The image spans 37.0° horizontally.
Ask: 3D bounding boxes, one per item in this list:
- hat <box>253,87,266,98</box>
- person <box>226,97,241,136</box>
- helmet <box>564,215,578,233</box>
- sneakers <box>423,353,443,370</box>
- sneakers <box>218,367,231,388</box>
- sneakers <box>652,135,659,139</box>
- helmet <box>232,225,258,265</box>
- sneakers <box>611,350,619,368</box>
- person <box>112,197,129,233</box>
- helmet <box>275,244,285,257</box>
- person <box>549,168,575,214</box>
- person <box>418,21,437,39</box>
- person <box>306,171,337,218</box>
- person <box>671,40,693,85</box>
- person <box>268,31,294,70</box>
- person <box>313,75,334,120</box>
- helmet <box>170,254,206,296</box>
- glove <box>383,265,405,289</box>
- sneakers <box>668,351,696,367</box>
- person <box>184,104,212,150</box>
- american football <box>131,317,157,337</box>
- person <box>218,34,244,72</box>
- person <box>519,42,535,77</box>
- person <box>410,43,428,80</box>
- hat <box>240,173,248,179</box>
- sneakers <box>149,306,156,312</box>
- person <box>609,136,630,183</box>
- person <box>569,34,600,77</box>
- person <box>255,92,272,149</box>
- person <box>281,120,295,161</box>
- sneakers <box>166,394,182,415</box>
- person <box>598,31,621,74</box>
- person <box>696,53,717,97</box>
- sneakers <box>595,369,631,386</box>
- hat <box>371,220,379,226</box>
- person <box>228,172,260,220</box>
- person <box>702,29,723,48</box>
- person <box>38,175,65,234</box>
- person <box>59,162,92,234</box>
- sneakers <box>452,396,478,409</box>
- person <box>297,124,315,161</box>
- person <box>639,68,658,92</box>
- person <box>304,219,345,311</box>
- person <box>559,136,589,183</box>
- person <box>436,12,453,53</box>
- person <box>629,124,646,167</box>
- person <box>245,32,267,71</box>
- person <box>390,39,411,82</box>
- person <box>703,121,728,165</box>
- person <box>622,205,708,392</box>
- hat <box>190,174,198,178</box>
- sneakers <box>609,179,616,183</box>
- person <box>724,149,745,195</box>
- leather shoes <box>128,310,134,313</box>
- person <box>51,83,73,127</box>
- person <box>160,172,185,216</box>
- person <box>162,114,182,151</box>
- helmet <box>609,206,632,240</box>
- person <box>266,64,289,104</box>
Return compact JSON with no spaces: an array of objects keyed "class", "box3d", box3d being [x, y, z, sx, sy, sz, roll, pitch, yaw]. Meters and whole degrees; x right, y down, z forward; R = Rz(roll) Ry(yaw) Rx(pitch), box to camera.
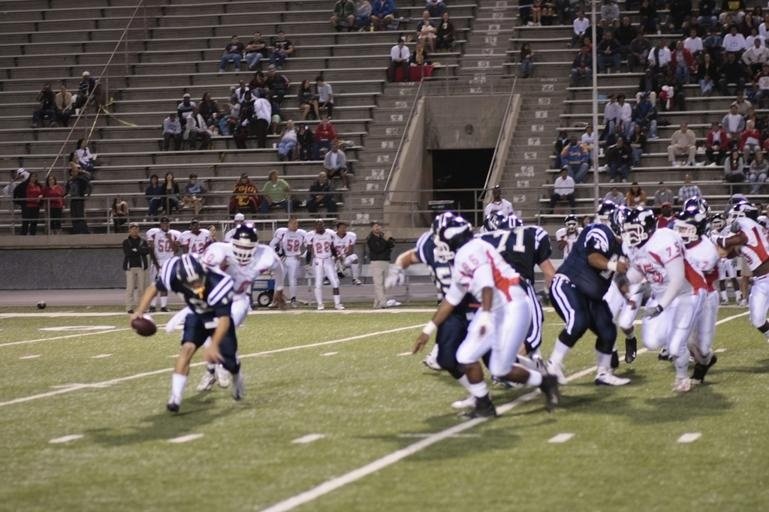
[{"class":"hat","box3d":[-3.514,-4.560,32.442,0.334,0.143,0.244,7,3,12]},{"class":"person","box3d":[-4.218,-3.903,32.070,0.361,1.104,0.925,-1,3,-8]},{"class":"helmet","box3d":[4.156,-0.680,24.811,0.302,0.373,0.386,-2,-3,9]},{"class":"sneakers","box3d":[0.763,1.615,17.643,0.292,0.249,0.214,20,-2,-6]},{"class":"sneakers","box3d":[-2.385,1.764,16.866,0.185,0.306,0.123,-8,-16,-26]},{"class":"sneakers","box3d":[7.131,-3.003,29.405,0.139,0.127,0.418,1,3,17]},{"class":"helmet","box3d":[-2.042,-0.183,16.689,0.408,0.503,0.536,4,7,-6]},{"class":"sneakers","box3d":[3.526,1.531,17.144,0.081,0.243,0.185,-1,15,12]},{"class":"person","box3d":[-6.840,-1.053,29.476,0.422,0.864,0.468,-1,3,-14]},{"class":"helmet","box3d":[-2.328,-0.082,25.655,0.238,0.296,0.261,-7,26,3]},{"class":"person","box3d":[4.512,-1.555,28.103,0.761,1.070,0.699,-7,10,-33]},{"class":"person","box3d":[1.341,-6.585,33.850,0.538,0.713,1.003,0,3,1]},{"class":"person","box3d":[-1.514,-1.522,28.942,1.079,1.116,1.034,-5,9,-33]},{"class":"person","box3d":[8.136,-5.112,30.682,0.543,1.103,0.503,1,3,15]},{"class":"person","box3d":[-3.134,-6.096,34.344,0.734,1.259,0.788,1,-1,13]},{"class":"person","box3d":[-1.644,-4.409,32.262,0.495,1.115,0.729,0,3,-4]},{"class":"helmet","box3d":[-2.597,0.200,15.878,0.399,0.500,0.476,-28,-25,-3]},{"class":"glove","box3d":[0.184,0.275,15.969,0.317,0.393,0.129,4,-26,-2]},{"class":"sneakers","box3d":[4.420,1.481,16.663,0.240,0.303,0.273,-3,46,35]},{"class":"person","box3d":[-5.229,-3.556,31.976,0.619,1.223,0.877,-2,3,-28]},{"class":"american football","box3d":[-3.452,0.988,16.266,0.248,0.200,0.340,13,2,-22]},{"class":"person","box3d":[-4.658,-6.103,34.827,0.743,1.187,0.955,-1,3,-8]},{"class":"person","box3d":[4.118,-5.438,32.274,0.381,0.946,0.431,1,3,17]},{"class":"person","box3d":[1.084,-5.557,33.019,0.601,1.126,0.503,1,3,28]},{"class":"hat","box3d":[-3.588,-2.025,29.110,0.178,0.058,0.160,-6,-5,40]},{"class":"sneakers","box3d":[-5.192,1.170,25.447,0.104,0.097,0.252,0,-6,-10]},{"class":"person","box3d":[5.981,-2.392,28.559,0.558,1.133,0.513,0,3,14]},{"class":"person","box3d":[5.581,-5.399,31.571,0.521,1.221,1.010,0,3,12]},{"class":"person","box3d":[-3.350,-3.646,31.647,0.409,1.347,0.576,-4,-2,33]},{"class":"person","box3d":[-2.578,-3.062,30.917,0.530,1.053,0.505,0,3,7]},{"class":"sneakers","box3d":[-2.917,2.045,15.935,0.240,0.212,0.398,-6,-1,4]},{"class":"person","box3d":[6.326,-5.528,31.516,0.618,1.031,0.466,0,3,14]},{"class":"person","box3d":[8.765,-4.774,30.484,0.484,1.129,0.480,0,3,10]},{"class":"sneakers","box3d":[3.386,1.765,16.813,0.584,0.255,0.196,-3,4,5]},{"class":"hat","box3d":[-0.144,-0.709,25.030,0.108,0.083,0.142,9,13,30]},{"class":"person","box3d":[-3.525,-1.544,28.911,0.786,0.992,0.677,0,3,-5]},{"class":"person","box3d":[9.087,-5.780,31.114,0.543,0.568,0.810,0,3,15]},{"class":"person","box3d":[-8.705,-1.309,29.984,0.546,1.453,1.009,-1,3,-17]},{"class":"person","box3d":[-8.096,-1.521,30.120,0.648,1.857,1.304,-1,3,-16]},{"class":"sneakers","box3d":[1.172,2.027,16.036,0.406,0.163,0.135,4,3,10]},{"class":"person","box3d":[-2.075,-2.993,30.819,0.482,0.890,0.283,-1,3,-8]},{"class":"person","box3d":[7.159,-4.604,30.294,0.468,0.670,0.722,1,3,27]},{"class":"person","box3d":[-1.287,0.178,25.567,0.856,1.943,1.195,0,3,-3]},{"class":"person","box3d":[4.873,-2.409,28.695,0.802,1.128,0.713,-8,17,-21]},{"class":"person","box3d":[1.874,-6.498,33.642,0.535,1.044,0.338,0,3,3]},{"class":"person","box3d":[6.548,-2.758,29.040,0.381,1.063,0.760,1,3,23]},{"class":"person","box3d":[-3.920,-6.118,34.832,0.673,1.191,1.050,0,3,4]},{"class":"person","box3d":[0.514,-5.585,33.140,0.636,1.262,0.621,0,3,1]},{"class":"person","box3d":[8.382,-2.740,28.322,0.560,1.017,0.457,1,3,15]},{"class":"person","box3d":[4.057,0.623,16.372,1.059,2.591,1.157,2,3,32]},{"class":"hat","box3d":[-4.976,-2.052,29.734,0.156,0.108,0.212,3,-18,-22]},{"class":"sneakers","box3d":[5.805,-1.835,28.394,0.137,0.075,0.113,0,3,2]},{"class":"person","box3d":[8.659,-2.020,27.789,0.498,1.060,0.533,1,3,16]},{"class":"leather shoes","box3d":[-5.619,1.224,25.261,0.143,0.058,0.049,-5,-3,44]},{"class":"person","box3d":[-9.543,-4.357,33.845,0.502,1.158,0.576,-1,3,-9]},{"class":"person","box3d":[-5.525,-1.588,29.610,0.504,1.034,0.637,-1,3,-14]},{"class":"person","box3d":[-6.007,-3.420,32.219,0.543,0.975,0.803,-1,3,-15]},{"class":"helmet","box3d":[3.575,-0.510,17.080,0.389,0.421,0.445,-3,11,11]},{"class":"person","box3d":[-3.059,-4.874,32.959,0.632,1.163,1.164,-1,3,-5]}]
